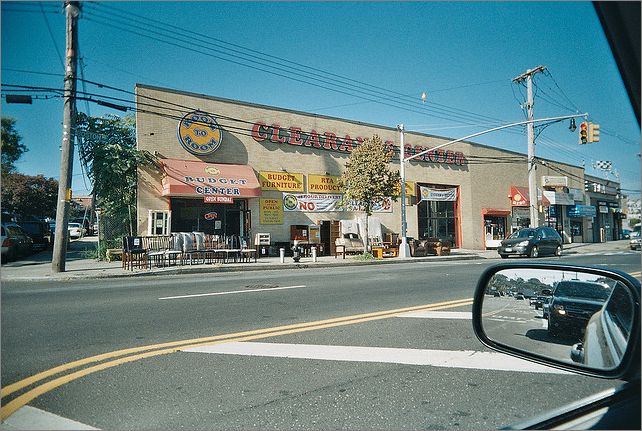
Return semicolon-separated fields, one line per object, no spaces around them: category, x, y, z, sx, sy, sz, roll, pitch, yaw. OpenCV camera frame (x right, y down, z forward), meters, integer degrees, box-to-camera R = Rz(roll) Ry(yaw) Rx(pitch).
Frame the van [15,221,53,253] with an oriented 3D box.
van;-15.943;1.053;31.847;1.340;1.283;2.354;0;1;-4

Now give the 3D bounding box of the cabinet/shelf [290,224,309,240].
cabinet/shelf;-1.079;0.868;27.624;0.955;0.753;0.858;1;7;6

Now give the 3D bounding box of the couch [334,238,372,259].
couch;1.282;1.473;27.008;1.471;0.715;0.831;2;-1;-34

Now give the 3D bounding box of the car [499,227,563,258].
car;9.596;1.218;26.190;3.199;1.327;1.274;-5;9;-39

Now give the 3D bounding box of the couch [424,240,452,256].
couch;5.812;1.614;29.133;0.818;0.923;1.325;5;-8;-38

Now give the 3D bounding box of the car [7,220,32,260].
car;-13.320;1.063;25.459;1.030;1.081;2.224;-1;1;-16

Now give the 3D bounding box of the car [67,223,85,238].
car;-20.775;1.232;48.660;1.129;0.788;2.381;-2;9;-24

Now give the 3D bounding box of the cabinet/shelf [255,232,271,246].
cabinet/shelf;-2.706;1.088;26.467;0.576;0.567;0.574;1;-7;-20

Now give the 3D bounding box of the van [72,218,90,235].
van;-22.500;1.009;53.837;1.372;1.523;2.986;0;-7;-2
